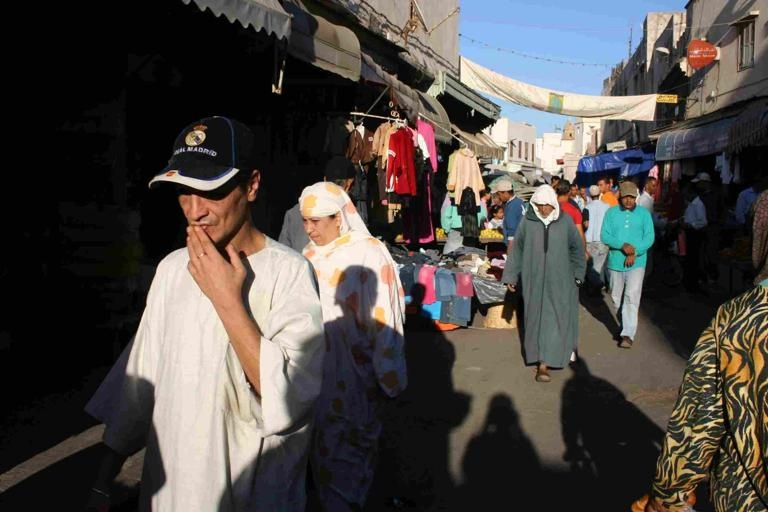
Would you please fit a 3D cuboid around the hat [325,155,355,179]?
[{"bbox_3d":[-0.470,-0.943,6.420,0.322,0.252,0.200,-2,7,-7],"label":"hat"}]

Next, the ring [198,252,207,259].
[{"bbox_3d":[-0.834,0.001,2.702,0.024,0.026,0.008,-6,11,-16],"label":"ring"}]

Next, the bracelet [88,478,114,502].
[{"bbox_3d":[-1.390,1.147,2.890,0.075,0.091,0.079,0,-5,-1],"label":"bracelet"}]

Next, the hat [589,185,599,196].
[{"bbox_3d":[4.628,-1.409,12.908,0.170,0.259,0.082,-11,-3,8],"label":"hat"}]

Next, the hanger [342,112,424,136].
[{"bbox_3d":[-0.007,-2.005,8.676,0.721,0.248,1.663,2,8,17],"label":"hanger"}]

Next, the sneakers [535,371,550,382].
[{"bbox_3d":[1.986,1.493,7.312,0.182,0.102,0.184,1,8,15],"label":"sneakers"}]
